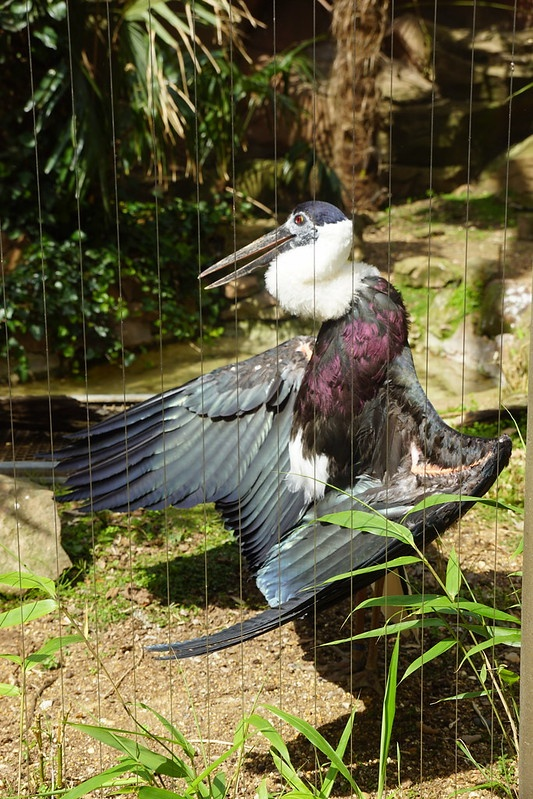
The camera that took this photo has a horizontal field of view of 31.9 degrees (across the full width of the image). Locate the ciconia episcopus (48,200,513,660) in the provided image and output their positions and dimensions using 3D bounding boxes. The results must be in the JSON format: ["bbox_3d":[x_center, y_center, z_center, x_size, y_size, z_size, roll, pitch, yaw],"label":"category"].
[{"bbox_3d":[0.020,-0.010,3.337,0.944,1.387,1.429,-14,12,-43],"label":"ciconia episcopus"}]
